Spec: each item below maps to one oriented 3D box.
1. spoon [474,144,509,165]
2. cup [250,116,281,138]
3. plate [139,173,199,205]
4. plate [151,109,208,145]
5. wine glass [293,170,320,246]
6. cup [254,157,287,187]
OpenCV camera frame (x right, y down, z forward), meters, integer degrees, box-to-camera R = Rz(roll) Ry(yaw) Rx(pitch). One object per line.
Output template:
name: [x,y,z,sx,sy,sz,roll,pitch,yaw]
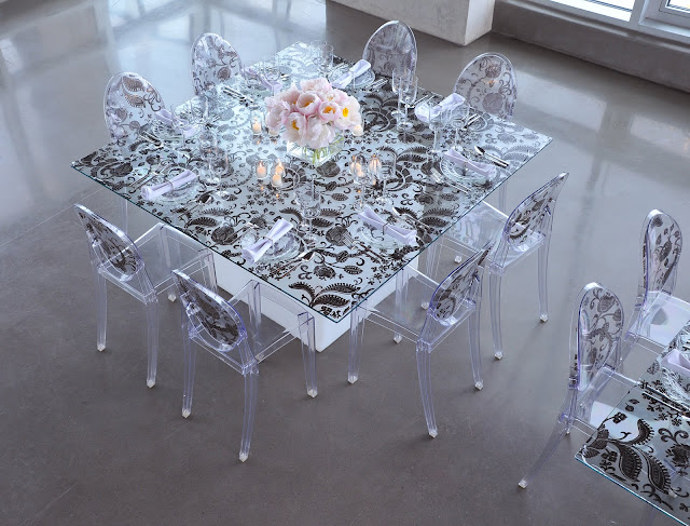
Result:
spoon: [0.861,-0.632,3.138,0.180,0.031,0.043,39,71,23]
cup: [-0.462,-0.801,3.148,0.131,0.102,0.074,24,52,18]
plate: [-0.932,-0.407,2.903,0.240,0.100,0.164,-33,72,-31]
plate: [-1.014,-0.822,3.262,0.275,0.093,0.293,19,37,17]
wine glass: [-0.201,-0.275,2.790,0.172,0.360,0.167,29,53,25]
cup: [-0.401,-0.530,2.973,0.161,0.177,0.178,6,43,2]
